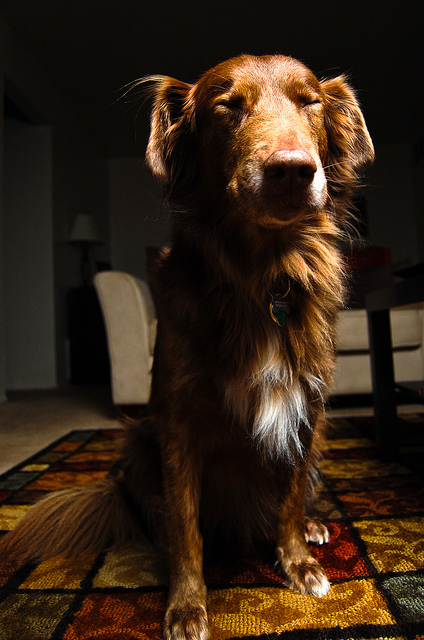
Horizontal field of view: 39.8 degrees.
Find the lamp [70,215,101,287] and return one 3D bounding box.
[{"bbox_3d":[-1.172,-0.645,5.429,0.221,0.618,0.269,2,7,-11],"label":"lamp"}]

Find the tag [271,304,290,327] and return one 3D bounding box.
[{"bbox_3d":[0.163,-0.013,1.376,0.035,0.044,0.011,8,-15,-17],"label":"tag"}]

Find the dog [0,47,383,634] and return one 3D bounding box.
[{"bbox_3d":[-0.041,-0.019,1.488,0.918,1.305,0.696,-1,6,9],"label":"dog"}]
